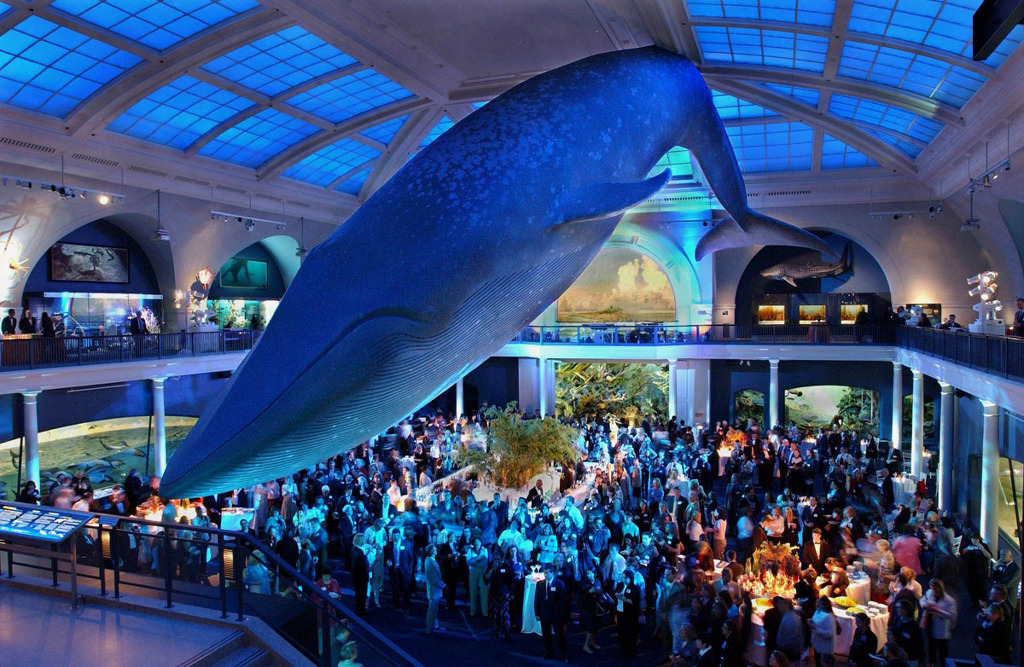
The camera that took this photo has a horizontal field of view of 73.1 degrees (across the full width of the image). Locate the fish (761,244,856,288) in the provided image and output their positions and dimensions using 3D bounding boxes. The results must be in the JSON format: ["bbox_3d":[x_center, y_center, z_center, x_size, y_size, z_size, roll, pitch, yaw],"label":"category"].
[{"bbox_3d":[13.349,-3.024,30.820,3.438,1.647,1.708,-1,-6,29],"label":"fish"}]

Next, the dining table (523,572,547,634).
[{"bbox_3d":[0.410,5.505,14.105,0.389,1.444,1.133,2,-5,-4],"label":"dining table"}]

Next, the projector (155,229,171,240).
[{"bbox_3d":[-12.597,-3.517,24.411,0.565,0.336,0.546,-5,-2,-28],"label":"projector"}]

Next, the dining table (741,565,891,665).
[{"bbox_3d":[5.835,5.365,12.993,2.740,1.806,1.276,2,-5,-9],"label":"dining table"}]
